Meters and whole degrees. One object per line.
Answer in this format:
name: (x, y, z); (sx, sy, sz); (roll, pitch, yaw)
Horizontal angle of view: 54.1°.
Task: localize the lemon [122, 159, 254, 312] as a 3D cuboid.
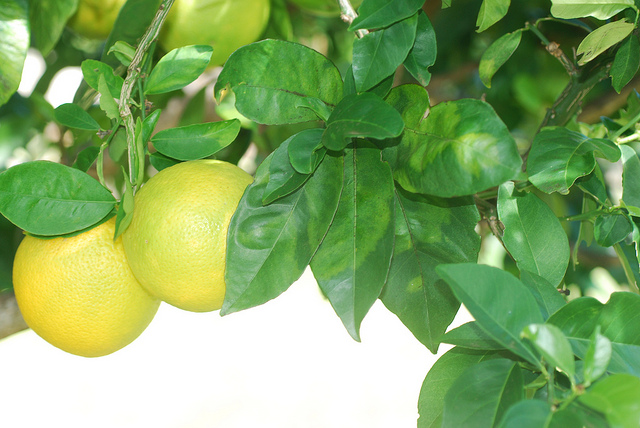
lemon: (-0.138, 0.014, 0.643); (0.123, 0.159, 0.070); (13, -13, 0)
